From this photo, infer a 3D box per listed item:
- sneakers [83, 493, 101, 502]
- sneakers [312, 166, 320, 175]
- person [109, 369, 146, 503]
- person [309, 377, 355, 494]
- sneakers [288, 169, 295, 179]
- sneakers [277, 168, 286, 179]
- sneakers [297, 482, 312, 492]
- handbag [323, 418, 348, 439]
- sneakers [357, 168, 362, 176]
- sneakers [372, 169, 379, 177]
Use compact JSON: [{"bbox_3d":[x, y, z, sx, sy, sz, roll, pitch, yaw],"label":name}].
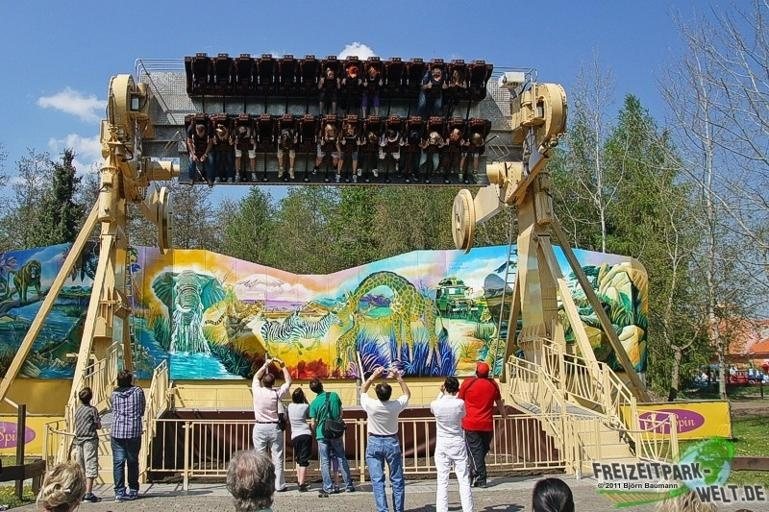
[{"bbox_3d":[-6.623,5.435,19.156,0.148,0.176,0.384,2,-3,26],"label":"sneakers"},{"bbox_3d":[-2.035,-2.579,25.322,0.125,0.188,0.257,1,-13,-1],"label":"sneakers"},{"bbox_3d":[-5.923,4.071,19.459,0.746,2.884,0.672,0,-9,-16],"label":"person"},{"bbox_3d":[-1.258,4.195,19.892,0.983,2.657,1.107,-2,-8,-3],"label":"person"},{"bbox_3d":[-2.744,-2.465,25.157,0.182,0.320,0.145,1,-9,-20],"label":"sneakers"},{"bbox_3d":[-3.045,-2.447,25.052,0.189,0.307,0.343,-3,-8,2],"label":"sneakers"},{"bbox_3d":[-1.869,5.381,19.847,0.115,0.164,0.357,0,-2,23],"label":"sneakers"},{"bbox_3d":[-1.169,3.933,19.578,0.627,0.673,0.384,3,-6,-14],"label":"handbag"},{"bbox_3d":[-0.729,-2.525,25.375,0.158,0.308,0.192,-2,-4,12],"label":"sneakers"},{"bbox_3d":[-0.256,-2.509,25.351,0.114,0.230,0.089,-6,-47,-14],"label":"sneakers"}]
